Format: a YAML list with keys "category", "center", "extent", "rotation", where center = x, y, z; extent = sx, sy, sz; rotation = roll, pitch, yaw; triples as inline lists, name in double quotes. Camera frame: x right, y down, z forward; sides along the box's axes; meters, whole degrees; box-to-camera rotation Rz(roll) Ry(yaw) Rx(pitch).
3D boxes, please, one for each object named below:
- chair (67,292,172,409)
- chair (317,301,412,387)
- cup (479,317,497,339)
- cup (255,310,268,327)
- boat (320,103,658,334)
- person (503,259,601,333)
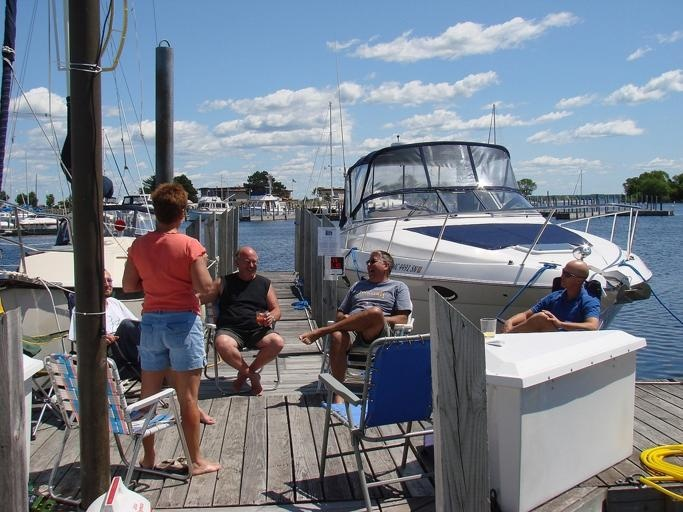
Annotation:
- category: "chair"
  center: [-2.105, 0.813, 5.936]
  extent: [0.881, 1.245, 1.102]
  rotation: [2, -4, -44]
- category: "chair"
  center: [0.216, 0.879, 6.075]
  extent: [0.647, 0.891, 0.853]
  rotation: [3, -10, -3]
- category: "cup"
  center: [1.038, 0.505, 4.515]
  extent: [0.149, 0.172, 0.160]
  rotation: [2, 0, 0]
- category: "cup"
  center: [-0.751, 0.596, 5.855]
  extent: [0.119, 0.098, 0.111]
  rotation: [0, 1, 0]
- category: "boat"
  center: [1.809, -0.739, 9.308]
  extent: [2.334, 2.672, 5.022]
  rotation: [-4, 10, -25]
- category: "person"
  center: [1.988, 0.381, 5.886]
  extent: [0.874, 0.580, 0.617]
  rotation: [-8, 6, -36]
